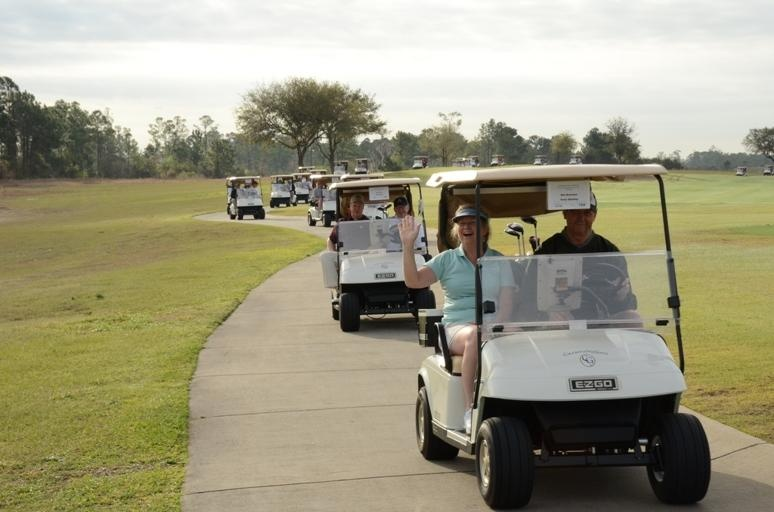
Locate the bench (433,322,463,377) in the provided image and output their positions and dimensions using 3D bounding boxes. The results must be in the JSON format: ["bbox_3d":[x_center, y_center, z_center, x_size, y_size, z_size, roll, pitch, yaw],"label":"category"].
[{"bbox_3d":[0.533,0.831,6.573,0.275,0.368,0.351,0,0,-32],"label":"bench"}]

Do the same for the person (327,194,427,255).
[{"bbox_3d":[-0.296,-0.620,13.257,0.843,0.987,1.544,0,7,-6],"label":"person"}]

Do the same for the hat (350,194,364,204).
[{"bbox_3d":[-0.500,-1.042,13.069,0.259,0.151,0.398,3,-3,-2],"label":"hat"}]
